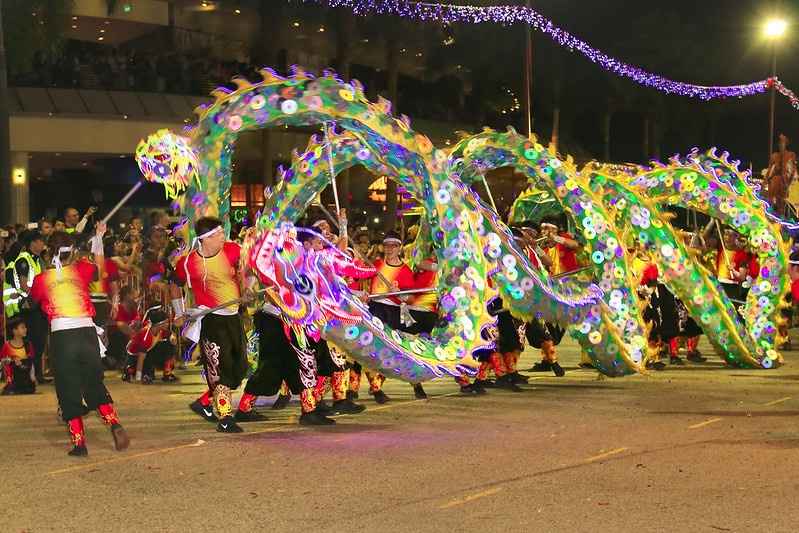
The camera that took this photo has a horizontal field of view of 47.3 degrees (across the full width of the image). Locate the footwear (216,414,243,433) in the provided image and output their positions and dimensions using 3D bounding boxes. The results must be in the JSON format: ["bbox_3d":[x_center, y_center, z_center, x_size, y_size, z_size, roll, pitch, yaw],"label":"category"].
[{"bbox_3d":[-2.003,1.926,11.042,0.382,0.258,0.143,0,-5,8],"label":"footwear"}]

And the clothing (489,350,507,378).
[{"bbox_3d":[1.461,1.471,13.783,0.229,0.384,0.136,-20,1,-26],"label":"clothing"}]

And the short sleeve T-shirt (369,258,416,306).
[{"bbox_3d":[-0.109,0.222,12.751,0.742,0.688,0.431,12,16,26],"label":"short sleeve T-shirt"}]

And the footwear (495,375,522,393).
[{"bbox_3d":[1.591,1.746,13.504,0.439,0.273,0.160,1,3,27],"label":"footwear"}]

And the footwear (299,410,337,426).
[{"bbox_3d":[-1.042,1.922,11.536,0.479,0.187,0.173,-1,-1,0],"label":"footwear"}]

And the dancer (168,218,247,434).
[{"bbox_3d":[-2.344,0.708,11.230,1.040,2.633,0.873,-2,3,-4],"label":"dancer"}]

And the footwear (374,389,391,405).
[{"bbox_3d":[-0.251,1.836,12.810,0.143,0.212,0.205,-7,-7,18],"label":"footwear"}]

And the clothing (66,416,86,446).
[{"bbox_3d":[-3.689,1.869,10.336,0.158,0.354,0.209,-4,8,-27],"label":"clothing"}]

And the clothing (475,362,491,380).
[{"bbox_3d":[1.278,1.515,13.631,0.157,0.371,0.274,11,-7,-10],"label":"clothing"}]

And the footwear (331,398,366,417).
[{"bbox_3d":[-0.678,1.875,12.090,0.479,0.335,0.170,-3,-3,-2],"label":"footwear"}]

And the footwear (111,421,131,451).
[{"bbox_3d":[-3.213,1.943,10.425,0.186,0.365,0.162,-21,18,-21],"label":"footwear"}]

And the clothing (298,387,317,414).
[{"bbox_3d":[-1.164,1.683,11.507,0.181,0.316,0.137,-2,7,-14],"label":"clothing"}]

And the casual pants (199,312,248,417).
[{"bbox_3d":[-2.174,1.214,11.301,0.499,1.325,0.580,-9,-8,24],"label":"casual pants"}]

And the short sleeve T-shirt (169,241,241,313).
[{"bbox_3d":[-2.317,0.148,11.266,0.902,0.809,0.479,-10,20,-20],"label":"short sleeve T-shirt"}]

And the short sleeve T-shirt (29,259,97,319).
[{"bbox_3d":[-3.819,0.310,10.524,0.751,0.698,0.411,-12,15,-13],"label":"short sleeve T-shirt"}]

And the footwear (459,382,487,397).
[{"bbox_3d":[1.069,1.805,13.345,0.305,0.118,0.151,0,8,1],"label":"footwear"}]

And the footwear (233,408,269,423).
[{"bbox_3d":[-1.934,1.917,11.731,0.492,0.203,0.156,1,-2,-11],"label":"footwear"}]

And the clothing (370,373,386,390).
[{"bbox_3d":[-0.325,1.617,12.854,0.180,0.259,0.274,-1,7,-2],"label":"clothing"}]

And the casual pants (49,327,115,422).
[{"bbox_3d":[-3.631,1.214,10.350,0.591,1.039,0.310,-4,8,-24],"label":"casual pants"}]

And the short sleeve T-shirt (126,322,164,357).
[{"bbox_3d":[-3.972,1.151,14.253,0.524,0.299,0.559,-33,-8,41],"label":"short sleeve T-shirt"}]
